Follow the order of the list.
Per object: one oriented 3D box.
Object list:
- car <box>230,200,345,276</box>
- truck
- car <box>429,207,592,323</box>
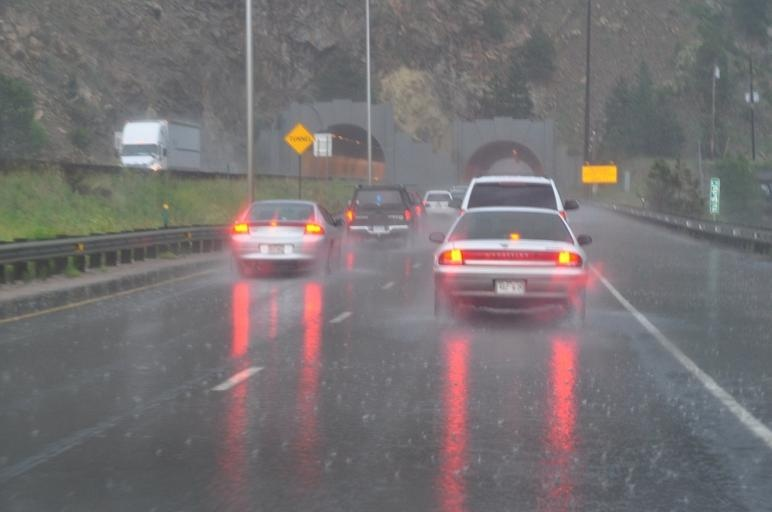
[{"bbox_3d":[-2.559,-0.400,21.200,2.880,1.895,1.817,-3,9,-22],"label":"car"},{"bbox_3d":[-14.471,-7.009,53.240,2.662,3.295,5.618,0,1,10],"label":"truck"},{"bbox_3d":[3.013,-0.164,21.184,2.693,2.833,5.155,1,-13,5],"label":"car"}]
